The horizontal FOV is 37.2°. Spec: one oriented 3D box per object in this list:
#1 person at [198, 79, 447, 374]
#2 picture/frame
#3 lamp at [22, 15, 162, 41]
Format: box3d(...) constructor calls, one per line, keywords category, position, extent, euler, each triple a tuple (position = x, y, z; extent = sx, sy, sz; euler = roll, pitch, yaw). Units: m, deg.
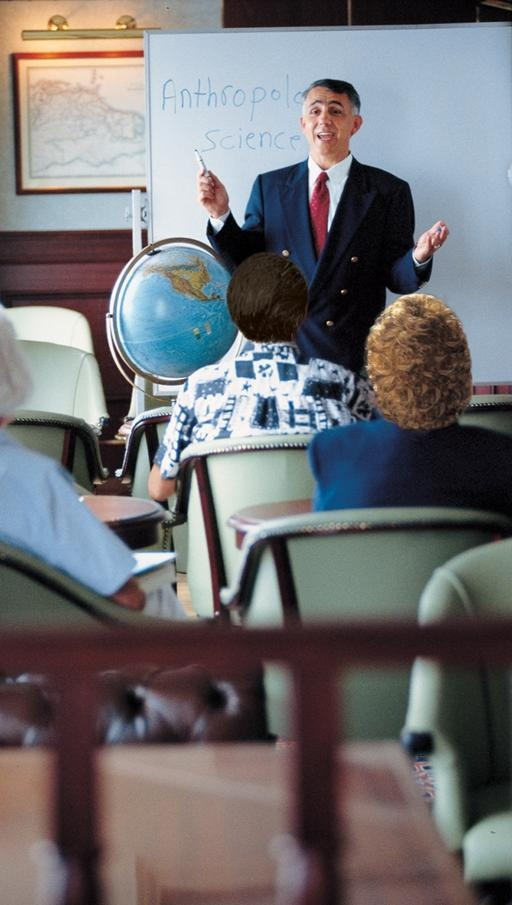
box3d(category="person", position=(0.219, -0.646, 2.611), extent=(0.727, 1.110, 0.507), euler=(-4, 18, -9))
box3d(category="picture/frame", position=(-1.052, -1.964, 4.534), extent=(0.798, 0.768, 0.426), euler=(-4, 28, -7))
box3d(category="lamp", position=(-1.023, -2.500, 4.485), extent=(0.715, 0.144, 0.251), euler=(-4, 29, -9))
